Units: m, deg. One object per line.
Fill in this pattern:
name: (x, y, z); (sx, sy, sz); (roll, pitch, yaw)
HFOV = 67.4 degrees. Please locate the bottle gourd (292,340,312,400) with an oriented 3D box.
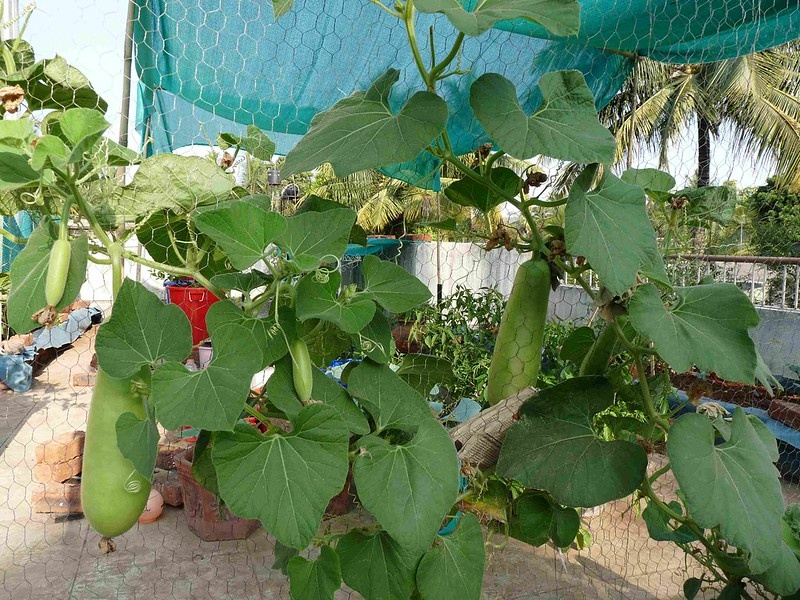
bottle gourd: (-0.232, 0.168, 1.440); (0.038, 0.162, 0.043); (-3, -13, -22)

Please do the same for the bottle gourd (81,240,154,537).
bottle gourd: (-0.669, 0.317, 1.446); (0.182, 0.561, 0.118); (3, 10, -11)

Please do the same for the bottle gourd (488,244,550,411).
bottle gourd: (0.365, 0.092, 1.887); (0.133, 0.492, 0.144); (15, 6, -21)

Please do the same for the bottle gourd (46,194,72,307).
bottle gourd: (-0.779, -0.107, 1.382); (0.056, 0.246, 0.088); (-1, 11, -29)

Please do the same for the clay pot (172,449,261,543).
clay pot: (-0.934, 1.000, 3.056); (0.435, 0.419, 0.246); (5, 10, -2)
